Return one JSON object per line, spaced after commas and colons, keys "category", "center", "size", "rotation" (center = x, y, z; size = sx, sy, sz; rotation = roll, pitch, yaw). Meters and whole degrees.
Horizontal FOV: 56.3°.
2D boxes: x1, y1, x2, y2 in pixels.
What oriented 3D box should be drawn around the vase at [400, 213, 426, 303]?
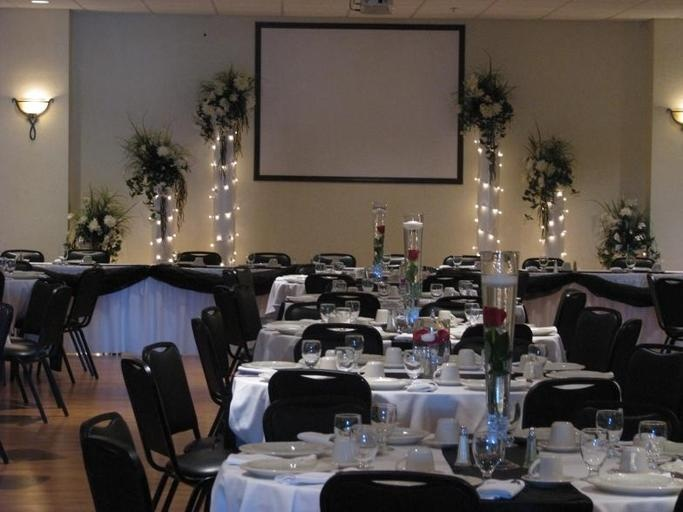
{"category": "vase", "center": [0.433, 0.061, 3.883], "size": [0.119, 0.551, 0.118], "rotation": [-8, 14, -32]}
